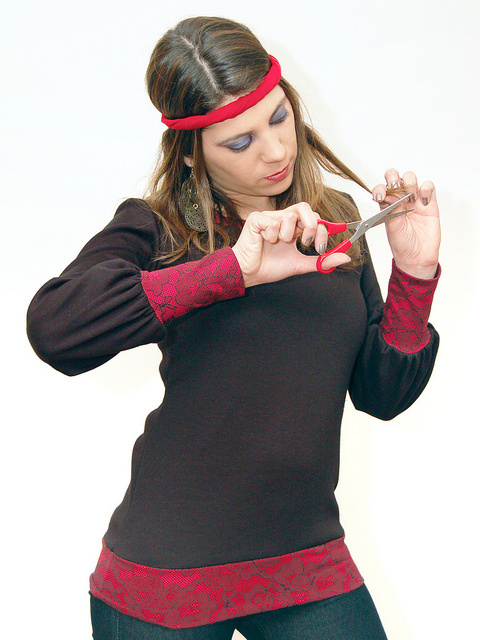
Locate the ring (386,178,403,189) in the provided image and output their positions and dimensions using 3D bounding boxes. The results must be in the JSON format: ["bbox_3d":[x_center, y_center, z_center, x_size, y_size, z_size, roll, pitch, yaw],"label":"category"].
[{"bbox_3d":[0.331,-0.295,1.435,0.027,0.022,0.024,0,9,-3],"label":"ring"}]

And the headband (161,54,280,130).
[{"bbox_3d":[-0.045,-0.478,1.414,0.278,0.119,0.164,-12,15,2],"label":"headband"}]

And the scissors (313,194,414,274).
[{"bbox_3d":[0.258,-0.183,1.367,0.081,0.096,0.316,0,18,43],"label":"scissors"}]

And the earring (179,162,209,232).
[{"bbox_3d":[-0.106,-0.284,1.538,0.059,0.151,0.073,-11,28,-19],"label":"earring"}]
